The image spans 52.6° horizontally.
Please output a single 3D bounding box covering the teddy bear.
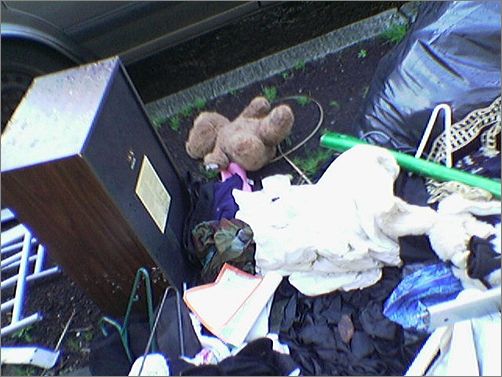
[{"bbox_3d":[-0.053,-0.331,3.488,0.757,0.580,0.595,4,-16,19],"label":"teddy bear"}]

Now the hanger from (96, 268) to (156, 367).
[{"bbox_3d":[-0.650,0.619,2.872,0.385,0.605,0.405,-8,19,-16],"label":"hanger"}]

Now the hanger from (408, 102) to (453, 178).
[{"bbox_3d":[1.166,-0.316,3.181,0.241,0.366,0.346,-10,18,33],"label":"hanger"}]
